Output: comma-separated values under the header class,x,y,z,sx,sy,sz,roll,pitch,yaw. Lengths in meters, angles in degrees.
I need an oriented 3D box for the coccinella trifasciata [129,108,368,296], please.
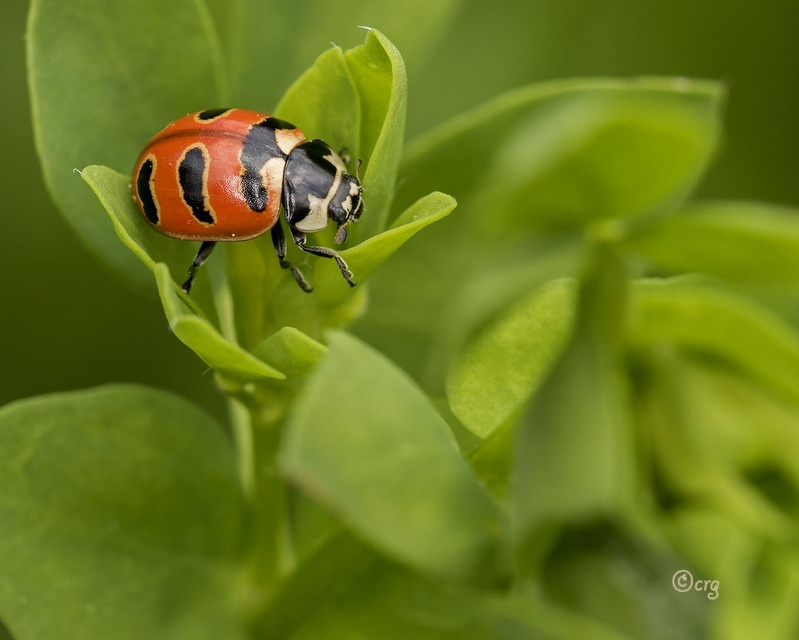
class,x,y,z,sx,sy,sz,roll,pitch,yaw
coccinella trifasciata,-0.188,-0.175,1.152,0.311,0.183,0.256,9,48,10
